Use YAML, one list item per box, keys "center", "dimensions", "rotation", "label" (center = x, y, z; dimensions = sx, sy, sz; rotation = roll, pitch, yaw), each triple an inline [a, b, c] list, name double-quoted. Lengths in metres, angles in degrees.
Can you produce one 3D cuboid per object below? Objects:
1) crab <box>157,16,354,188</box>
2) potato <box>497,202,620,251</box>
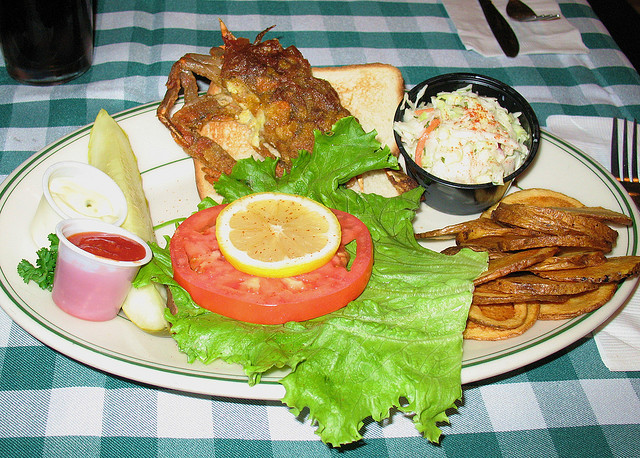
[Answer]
- center: [-0.458, -0.758, 3.766]
  dimensions: [1.295, 0.461, 1.296]
  rotation: [40, 80, 18]
  label: "crab"
- center: [1.467, -0.052, 3.174]
  dimensions: [0.706, 0.266, 0.526]
  rotation: [-2, 14, -4]
  label: "potato"
